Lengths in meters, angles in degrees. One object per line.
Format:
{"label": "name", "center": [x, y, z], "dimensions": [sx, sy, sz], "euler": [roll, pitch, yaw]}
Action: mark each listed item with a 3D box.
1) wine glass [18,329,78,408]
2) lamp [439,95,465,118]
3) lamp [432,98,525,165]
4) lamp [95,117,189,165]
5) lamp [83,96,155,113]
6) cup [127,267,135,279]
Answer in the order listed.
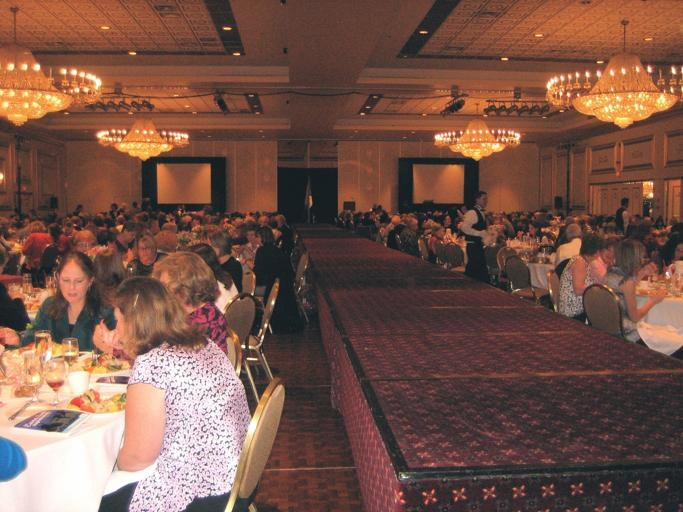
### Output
{"label": "wine glass", "center": [-1.399, 0.544, 2.887], "dimensions": [0.276, 0.381, 0.290], "euler": [3, 3, 19]}
{"label": "lamp", "center": [2.663, -3.551, 13.444], "dimensions": [0.357, 0.481, 1.166], "euler": [2, 11, 2]}
{"label": "lamp", "center": [3.159, -2.834, 13.996], "dimensions": [2.082, 1.212, 2.103], "euler": [-4, 6, -24]}
{"label": "lamp", "center": [-5.759, -3.370, 16.467], "dimensions": [1.653, 0.835, 1.701], "euler": [1, 7, -6]}
{"label": "lamp", "center": [-5.376, -3.739, 13.991], "dimensions": [1.306, 0.460, 1.804], "euler": [-10, 13, -42]}
{"label": "cup", "center": [-1.815, 0.139, 4.937], "dimensions": [0.076, 0.091, 0.079], "euler": [-1, -1, 0]}
